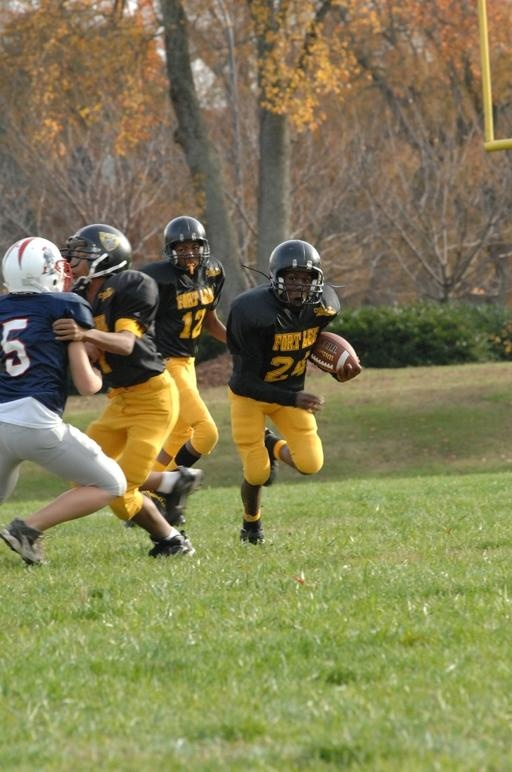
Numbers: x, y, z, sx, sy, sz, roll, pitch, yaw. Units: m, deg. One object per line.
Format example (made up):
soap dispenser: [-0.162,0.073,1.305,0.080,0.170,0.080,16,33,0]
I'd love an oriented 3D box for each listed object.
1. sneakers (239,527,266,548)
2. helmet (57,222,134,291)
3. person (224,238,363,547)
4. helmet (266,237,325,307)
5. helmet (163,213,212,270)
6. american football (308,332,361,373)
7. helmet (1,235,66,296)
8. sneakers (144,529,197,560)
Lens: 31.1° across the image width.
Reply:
sneakers: [0.003,0.823,4.931,0.170,0.080,0.052,4,-4,2]
helmet: [-0.816,-0.645,4.683,0.391,0.309,0.306,-1,-1,-16]
person: [0.189,0.035,4.922,0.686,1.591,0.512,-5,7,-12]
helmet: [0.204,-0.575,4.740,0.274,0.339,0.277,-3,6,3]
helmet: [-0.431,-0.893,5.777,0.280,0.252,0.324,-3,-1,-14]
american football: [0.429,-0.155,5.069,0.279,0.168,0.192,40,5,35]
helmet: [-0.912,-0.504,3.845,0.231,0.207,0.280,4,6,14]
sneakers: [-0.426,0.810,4.581,0.283,0.157,0.092,-2,-5,-8]
